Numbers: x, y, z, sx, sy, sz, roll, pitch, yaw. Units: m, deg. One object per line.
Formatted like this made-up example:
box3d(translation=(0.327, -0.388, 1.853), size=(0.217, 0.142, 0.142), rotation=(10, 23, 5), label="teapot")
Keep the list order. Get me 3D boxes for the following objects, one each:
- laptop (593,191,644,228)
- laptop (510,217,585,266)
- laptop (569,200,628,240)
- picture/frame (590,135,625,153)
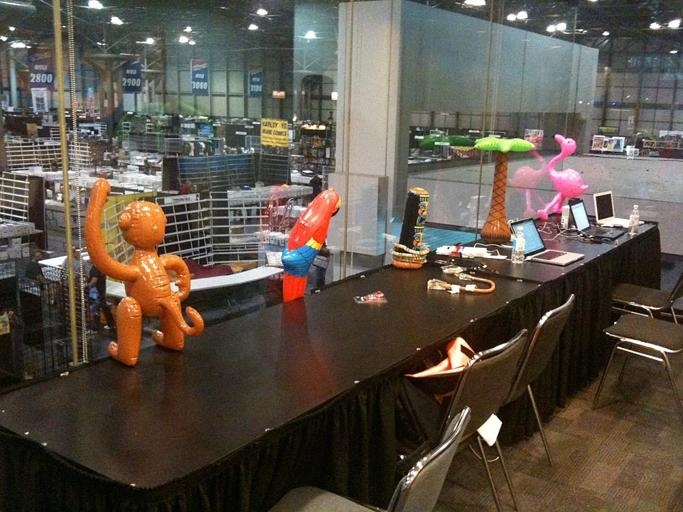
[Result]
box3d(translation=(2.317, -0.393, 4.376), size=(0.360, 0.308, 0.439), rotation=(7, 14, 42), label="laptop")
box3d(translation=(1.298, -0.070, 3.288), size=(0.372, 0.223, 0.376), rotation=(12, 19, 39), label="laptop")
box3d(translation=(1.991, -0.256, 4.050), size=(0.380, 0.254, 0.430), rotation=(9, 16, 34), label="laptop")
box3d(translation=(2.360, -1.011, 4.555), size=(0.292, 0.154, 0.188), rotation=(5, 4, 22), label="picture/frame")
